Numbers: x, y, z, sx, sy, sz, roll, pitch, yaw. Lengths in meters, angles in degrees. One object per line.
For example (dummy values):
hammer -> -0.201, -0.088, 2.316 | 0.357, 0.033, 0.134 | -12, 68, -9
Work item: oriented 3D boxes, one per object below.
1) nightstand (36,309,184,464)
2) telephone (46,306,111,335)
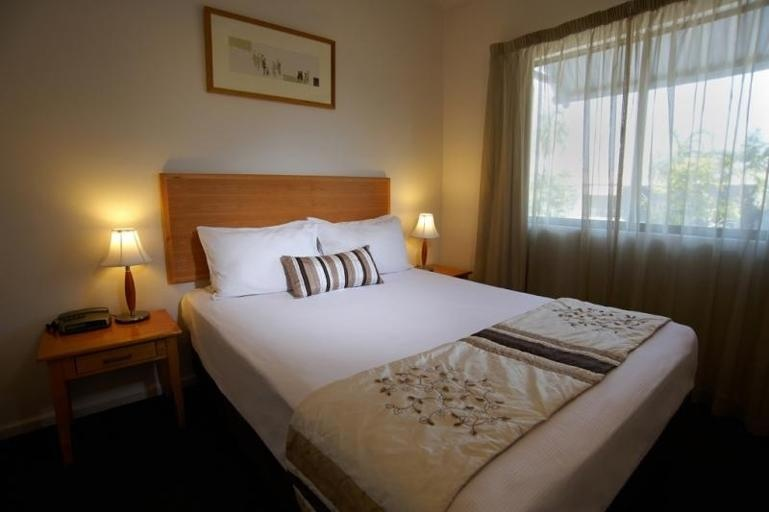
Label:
nightstand -> -1.926, 0.996, 3.848 | 1.088, 1.082, 0.826 | -9, 15, -36
telephone -> -2.150, 0.415, 3.608 | 0.299, 0.112, 0.213 | -6, 11, -37
